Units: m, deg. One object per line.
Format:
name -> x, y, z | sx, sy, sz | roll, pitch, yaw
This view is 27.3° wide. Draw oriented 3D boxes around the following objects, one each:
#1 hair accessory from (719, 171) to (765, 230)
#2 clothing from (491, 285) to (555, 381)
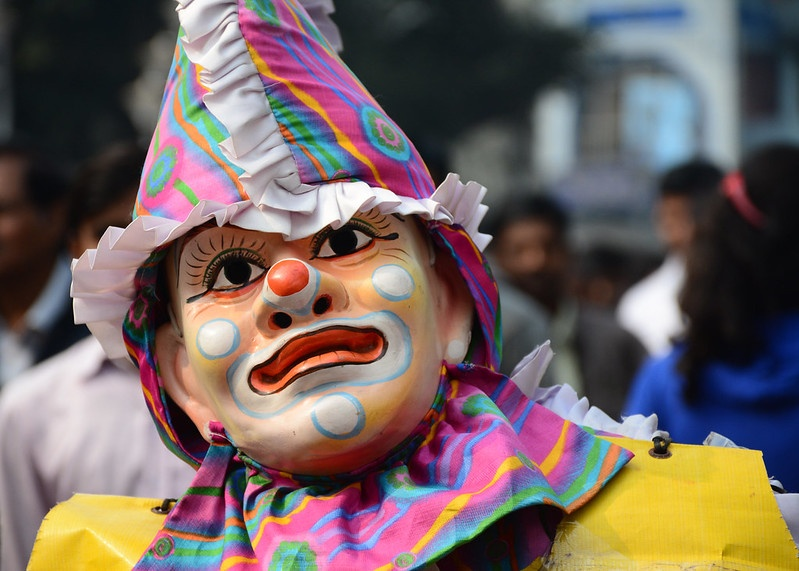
hair accessory -> 1.044, -0.262, 5.052 | 0.062, 0.177, 0.124 | -38, 7, -37
clothing -> 0.369, 0.154, 5.070 | 0.130, 0.186, 0.242 | -13, 39, 43
